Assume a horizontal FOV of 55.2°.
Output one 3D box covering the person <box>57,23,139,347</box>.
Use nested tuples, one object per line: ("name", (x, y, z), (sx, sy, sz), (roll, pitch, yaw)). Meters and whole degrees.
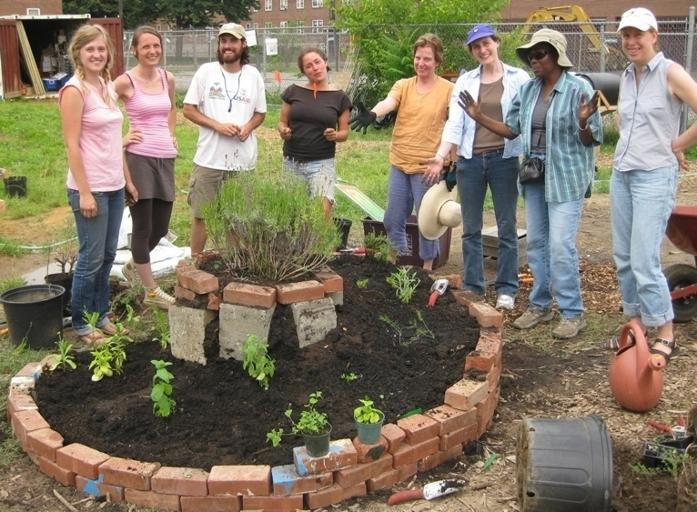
("person", (-2.166, -0.584, 5.769), (0.365, 2.742, 0.599), (8, 17, 36))

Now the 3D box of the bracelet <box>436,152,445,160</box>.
("bracelet", (0.874, -0.963, 6.397), (0.074, 0.073, 0.065), (-8, 21, -22))

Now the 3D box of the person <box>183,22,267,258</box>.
("person", (-1.229, -1.152, 6.659), (0.839, 2.221, 0.467), (-4, 14, -9))

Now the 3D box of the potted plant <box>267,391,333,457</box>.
("potted plant", (-0.300, 1.134, 4.402), (0.381, 0.270, 0.394), (0, 15, 19))

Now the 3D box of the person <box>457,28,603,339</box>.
("person", (1.744, -0.628, 6.037), (0.870, 2.751, 0.432), (2, 14, 16))

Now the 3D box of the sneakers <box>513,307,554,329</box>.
("sneakers", (1.744, 0.576, 6.460), (0.459, 0.202, 0.162), (-9, 6, -21))

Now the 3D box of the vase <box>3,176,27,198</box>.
("vase", (-5.350, -1.116, 10.742), (0.327, 0.275, 0.338), (1, 2, -26))

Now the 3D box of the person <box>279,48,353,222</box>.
("person", (-0.339, -1.262, 6.841), (0.748, 1.705, 0.696), (-2, 14, -2))

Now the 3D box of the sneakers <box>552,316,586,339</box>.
("sneakers", (2.025, 0.662, 6.131), (0.361, 0.159, 0.142), (-4, 3, -38))

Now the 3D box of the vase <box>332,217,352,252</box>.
("vase", (-0.149, -0.242, 7.070), (0.309, 0.392, 0.323), (0, 5, -5))

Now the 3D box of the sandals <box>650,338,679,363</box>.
("sandals", (2.522, 0.785, 5.325), (0.203, 0.227, 0.576), (-5, -19, 27))

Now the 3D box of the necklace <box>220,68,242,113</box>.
("necklace", (-1.141, -1.648, 6.585), (0.200, 0.410, 0.088), (-4, 14, -10))

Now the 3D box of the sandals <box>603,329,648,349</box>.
("sandals", (2.210, 0.673, 5.329), (0.189, 0.092, 0.265), (-20, -17, -14))

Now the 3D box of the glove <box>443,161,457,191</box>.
("glove", (1.060, -0.835, 6.935), (0.097, 0.252, 0.201), (5, -11, -10))

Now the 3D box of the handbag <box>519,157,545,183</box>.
("handbag", (1.659, -0.781, 6.024), (0.200, 0.213, 0.110), (4, 17, 35))

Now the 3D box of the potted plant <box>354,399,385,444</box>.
("potted plant", (0.142, 1.111, 4.395), (0.209, 0.241, 0.207), (1, 2, 10))

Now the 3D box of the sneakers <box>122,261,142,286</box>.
("sneakers", (-2.216, 0.191, 6.842), (0.078, 0.232, 0.106), (-28, 13, 1))

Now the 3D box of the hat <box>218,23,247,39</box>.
("hat", (-1.143, -2.245, 6.593), (0.247, 0.198, 0.631), (-3, 14, -6))

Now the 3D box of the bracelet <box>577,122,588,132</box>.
("bracelet", (1.990, -1.104, 5.645), (0.096, 0.071, 0.080), (1, 14, 10))

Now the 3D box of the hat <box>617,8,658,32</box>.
("hat", (2.307, -1.891, 5.293), (0.204, 0.149, 0.288), (1, -2, 37))
